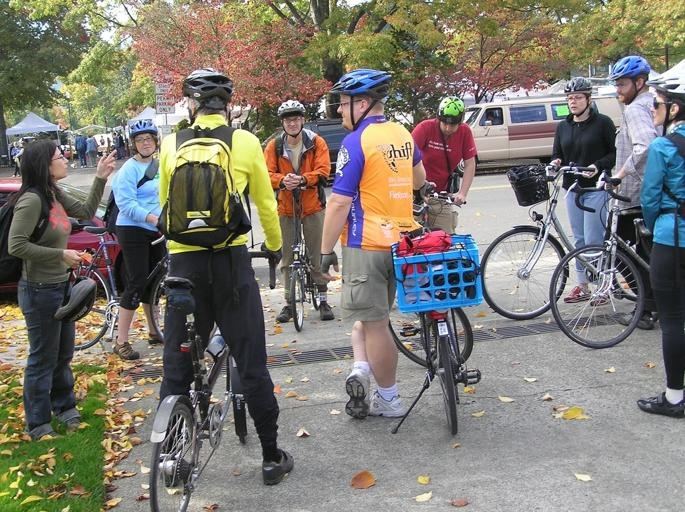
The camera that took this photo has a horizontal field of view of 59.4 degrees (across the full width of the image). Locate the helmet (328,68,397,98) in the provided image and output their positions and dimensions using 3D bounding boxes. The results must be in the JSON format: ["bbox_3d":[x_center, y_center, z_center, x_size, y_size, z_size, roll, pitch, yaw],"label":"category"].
[{"bbox_3d":[0.152,-1.274,4.427,0.352,0.128,0.240,2,13,-7],"label":"helmet"}]

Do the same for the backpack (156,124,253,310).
[{"bbox_3d":[-0.839,-0.312,3.572,0.530,0.898,0.438,-8,14,-12],"label":"backpack"}]

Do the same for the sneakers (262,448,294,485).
[{"bbox_3d":[-0.428,1.386,3.967,0.123,0.140,0.303,1,6,15],"label":"sneakers"}]

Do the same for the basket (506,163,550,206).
[{"bbox_3d":[1.950,-0.738,6.316,0.407,0.420,0.254,-1,14,14],"label":"basket"}]

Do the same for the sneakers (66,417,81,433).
[{"bbox_3d":[-2.128,1.327,4.746,0.106,0.076,0.131,-4,15,-42],"label":"sneakers"}]

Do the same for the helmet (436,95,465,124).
[{"bbox_3d":[1.164,-1.602,6.434,0.254,0.291,0.311,8,49,1],"label":"helmet"}]

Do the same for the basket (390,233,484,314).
[{"bbox_3d":[0.690,0.071,4.354,0.767,0.587,0.519,-7,14,2],"label":"basket"}]

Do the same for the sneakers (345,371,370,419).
[{"bbox_3d":[0.126,1.065,4.606,0.168,0.392,0.181,4,32,8],"label":"sneakers"}]

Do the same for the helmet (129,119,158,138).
[{"bbox_3d":[-2.051,-1.308,6.156,0.253,0.170,0.503,-8,13,-14],"label":"helmet"}]

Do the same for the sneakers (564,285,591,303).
[{"bbox_3d":[2.523,0.413,6.427,0.288,0.122,0.104,-6,-2,41],"label":"sneakers"}]

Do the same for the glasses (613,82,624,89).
[{"bbox_3d":[2.919,-1.822,6.345,0.096,0.059,0.122,1,2,24],"label":"glasses"}]

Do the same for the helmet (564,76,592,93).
[{"bbox_3d":[2.578,-1.873,6.579,0.250,0.172,0.216,0,14,20],"label":"helmet"}]

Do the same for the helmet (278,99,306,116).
[{"bbox_3d":[-0.593,-1.738,7.034,0.218,0.119,0.296,-1,6,-1],"label":"helmet"}]

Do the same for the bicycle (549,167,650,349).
[{"bbox_3d":[2.564,0.124,5.988,0.841,1.306,1.218,2,15,26],"label":"bicycle"}]

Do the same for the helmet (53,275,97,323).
[{"bbox_3d":[-1.983,0.343,4.460,0.309,0.284,0.190,-13,16,-32],"label":"helmet"}]

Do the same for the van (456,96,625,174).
[{"bbox_3d":[7.792,-5.307,23.126,7.184,3.002,3.501,-3,5,-11],"label":"van"}]

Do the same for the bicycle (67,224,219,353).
[{"bbox_3d":[-2.524,0.346,7.397,2.461,1.508,1.269,16,11,42],"label":"bicycle"}]

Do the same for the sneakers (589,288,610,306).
[{"bbox_3d":[2.546,0.415,5.949,0.121,0.139,0.347,-4,-9,18],"label":"sneakers"}]

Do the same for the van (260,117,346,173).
[{"bbox_3d":[-1.433,-3.741,20.270,3.588,1.636,1.884,1,11,-2],"label":"van"}]

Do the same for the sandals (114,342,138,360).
[{"bbox_3d":[-2.261,1.001,6.318,0.277,0.118,0.141,9,10,28],"label":"sandals"}]

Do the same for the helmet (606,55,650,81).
[{"bbox_3d":[3.013,-1.954,6.256,0.373,0.167,0.252,-4,14,-10],"label":"helmet"}]
